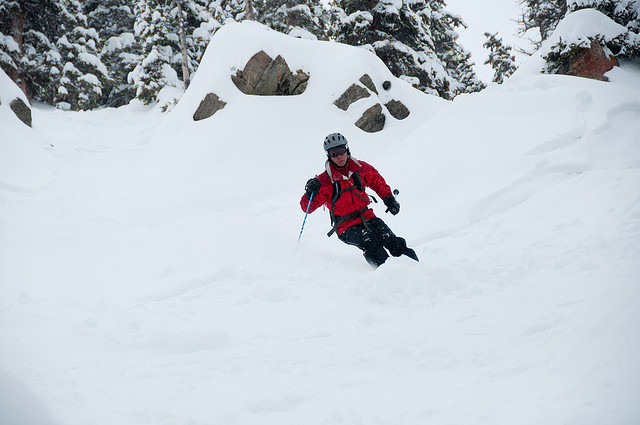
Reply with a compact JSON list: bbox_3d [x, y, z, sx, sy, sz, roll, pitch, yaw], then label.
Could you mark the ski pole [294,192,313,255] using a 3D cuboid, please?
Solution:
[{"bbox_3d":[-0.491,0.417,25.216,0.043,1.983,0.075,16,7,-3],"label":"ski pole"}]
